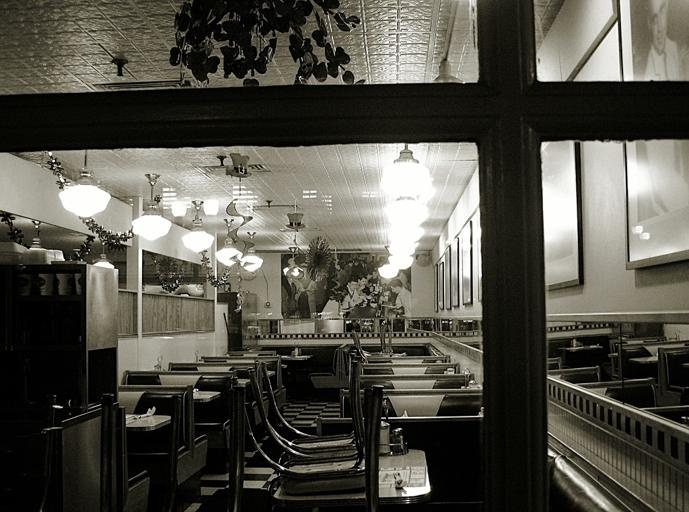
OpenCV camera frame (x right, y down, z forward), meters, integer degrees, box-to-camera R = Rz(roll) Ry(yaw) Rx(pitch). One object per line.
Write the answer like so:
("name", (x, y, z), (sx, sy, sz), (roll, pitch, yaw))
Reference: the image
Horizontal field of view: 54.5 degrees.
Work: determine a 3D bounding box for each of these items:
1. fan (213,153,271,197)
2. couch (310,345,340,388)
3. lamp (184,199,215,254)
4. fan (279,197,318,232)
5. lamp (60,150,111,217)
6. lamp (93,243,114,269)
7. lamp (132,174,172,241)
("fan", (-0.943, -0.697, 6.048), (0.616, 0.287, 0.619), (-6, 9, -21))
("couch", (-0.366, 1.838, 11.594), (0.642, 0.869, 0.887), (1, -10, 8))
("lamp", (-1.389, -0.289, 6.383), (0.279, 0.484, 0.270), (-5, 12, -33))
("fan", (-0.781, -0.628, 10.099), (0.436, 0.518, 0.458), (0, 1, 12))
("lamp", (-1.844, -0.574, 4.768), (0.304, 0.546, 0.313), (0, 0, 28))
("lamp", (-3.063, -0.025, 8.533), (0.308, 0.361, 0.323), (0, 0, 5))
("lamp", (-1.678, -0.450, 5.875), (0.266, 0.536, 0.285), (4, 5, 36))
